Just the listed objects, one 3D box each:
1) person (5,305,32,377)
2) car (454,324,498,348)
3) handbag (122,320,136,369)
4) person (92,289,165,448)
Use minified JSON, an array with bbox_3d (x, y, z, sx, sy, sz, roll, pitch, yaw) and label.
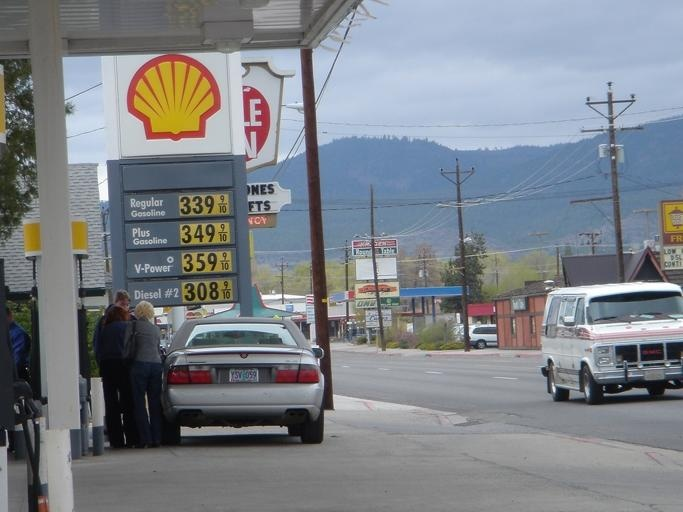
[{"bbox_3d":[-4.862,1.333,19.112,0.318,1.093,1.432,-2,-4,-14],"label":"person"},{"bbox_3d":[9.267,5.296,83.873,2.867,0.987,1.349,-4,2,-17],"label":"car"},{"bbox_3d":[-3.118,1.275,18.610,0.201,0.661,0.211,-2,-4,-11],"label":"handbag"},{"bbox_3d":[-3.131,1.663,18.825,1.060,2.356,0.559,-6,-5,32],"label":"person"}]
